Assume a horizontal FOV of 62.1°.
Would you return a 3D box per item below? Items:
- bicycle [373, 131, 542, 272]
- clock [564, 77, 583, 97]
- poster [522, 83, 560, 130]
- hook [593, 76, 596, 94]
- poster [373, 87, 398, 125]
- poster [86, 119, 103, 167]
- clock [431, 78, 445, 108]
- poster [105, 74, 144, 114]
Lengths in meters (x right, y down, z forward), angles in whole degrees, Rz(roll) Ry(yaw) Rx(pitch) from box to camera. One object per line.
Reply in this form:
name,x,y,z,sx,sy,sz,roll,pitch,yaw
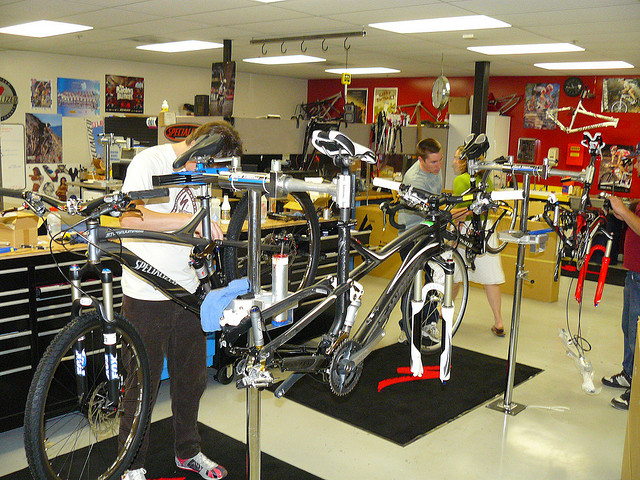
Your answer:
bicycle,1.065,-0.084,3.922,0.947,0.632,0.613,-15,26,-7
clock,4.616,-2.785,9.691,0.076,0.342,0.316,-8,16,-36
poster,4.192,-2.536,10.033,0.010,1.221,0.845,-2,7,-40
hook,4.895,-2.785,9.506,0.035,0.282,0.269,3,15,24
poster,1.466,-3.059,12.022,0.197,0.756,0.781,-11,18,-44
poster,-4.138,-1.833,9.820,0.327,1.061,0.039,3,-28,-33
clock,1.731,-2.166,7.832,0.127,0.417,0.351,1,13,0
poster,-3.858,-2.881,10.428,0.028,0.659,0.747,14,17,41
